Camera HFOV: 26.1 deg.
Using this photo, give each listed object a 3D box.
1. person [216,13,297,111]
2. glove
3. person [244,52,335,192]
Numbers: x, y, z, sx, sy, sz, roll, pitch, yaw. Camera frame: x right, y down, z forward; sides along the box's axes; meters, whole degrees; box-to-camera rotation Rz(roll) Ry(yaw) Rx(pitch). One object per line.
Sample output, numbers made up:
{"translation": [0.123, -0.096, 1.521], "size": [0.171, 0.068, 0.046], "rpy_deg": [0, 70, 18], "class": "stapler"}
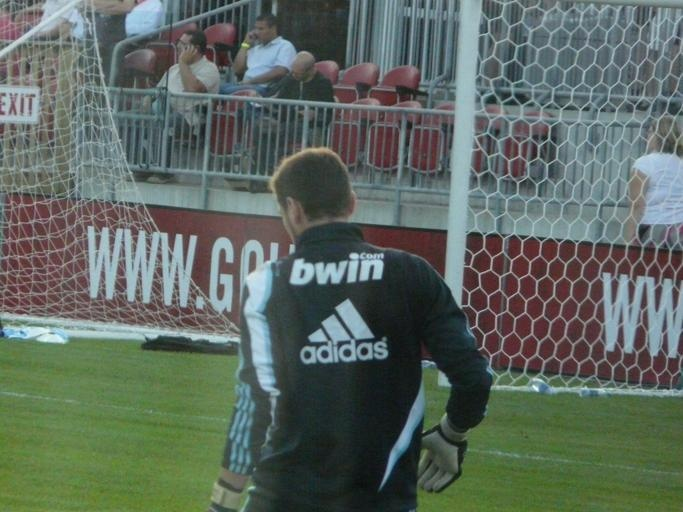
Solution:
{"translation": [-1.028, -2.182, 17.128], "size": [0.800, 1.389, 0.697], "rpy_deg": [8, -14, -6], "class": "person"}
{"translation": [0.728, 1.467, 10.797], "size": [0.341, 0.562, 0.147], "rpy_deg": [26, 18, -4], "class": "glove"}
{"translation": [-0.487, -1.403, 15.609], "size": [0.656, 1.478, 0.773], "rpy_deg": [7, 9, 24], "class": "person"}
